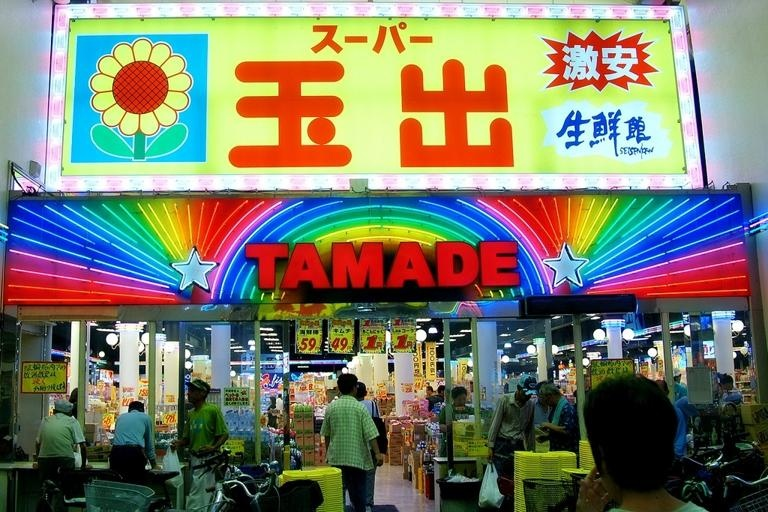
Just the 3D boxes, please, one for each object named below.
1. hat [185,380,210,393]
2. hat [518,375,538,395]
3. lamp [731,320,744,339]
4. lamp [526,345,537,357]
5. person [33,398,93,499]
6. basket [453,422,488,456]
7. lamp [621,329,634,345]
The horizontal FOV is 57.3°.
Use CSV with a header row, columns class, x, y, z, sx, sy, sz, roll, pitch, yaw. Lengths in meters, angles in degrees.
class,x,y,z,sx,sy,sz,roll,pitch,yaw
hat,-2.451,1.738,9.265,0.258,0.083,0.180,27,-21,-32
hat,2.119,1.894,10.336,0.308,0.295,0.291,2,-12,-16
lamp,5.603,1.138,11.164,0.170,0.237,0.222,-8,-13,26
lamp,2.491,1.586,11.883,0.080,0.196,0.381,-8,-13,26
person,-4.288,2.497,9.424,0.680,1.147,2.928,4,-13,-25
basket,1.371,2.975,11.495,0.564,0.546,0.341,-2,-4,1
lamp,4.200,1.390,12.137,0.247,0.290,0.247,3,-8,12
